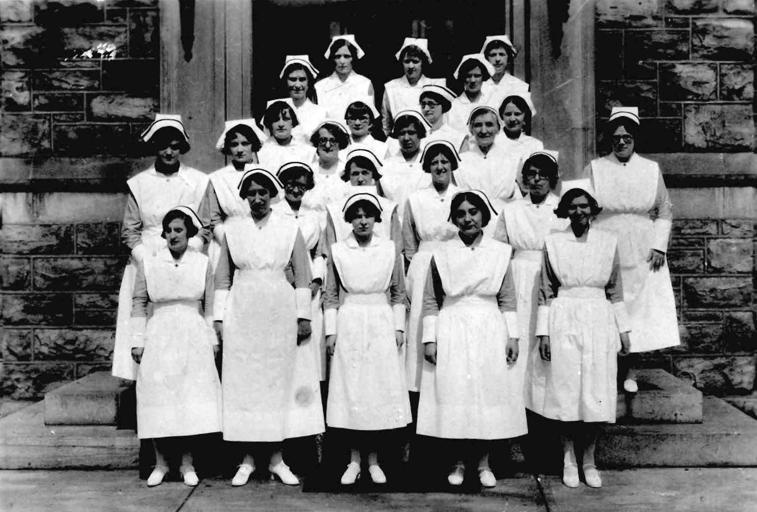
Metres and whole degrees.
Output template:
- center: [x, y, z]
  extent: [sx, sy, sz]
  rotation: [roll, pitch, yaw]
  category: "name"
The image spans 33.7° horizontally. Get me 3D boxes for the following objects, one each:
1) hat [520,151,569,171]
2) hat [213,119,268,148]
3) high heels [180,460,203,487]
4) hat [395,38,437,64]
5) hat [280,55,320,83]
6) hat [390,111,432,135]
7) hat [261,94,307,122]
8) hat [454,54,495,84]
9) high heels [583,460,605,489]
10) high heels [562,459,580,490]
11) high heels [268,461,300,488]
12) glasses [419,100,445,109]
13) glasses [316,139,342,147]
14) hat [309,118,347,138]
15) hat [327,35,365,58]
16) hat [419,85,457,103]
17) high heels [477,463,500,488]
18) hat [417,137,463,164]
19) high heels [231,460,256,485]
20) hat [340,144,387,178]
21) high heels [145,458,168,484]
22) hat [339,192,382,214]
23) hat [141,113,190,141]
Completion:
- center: [1.737, -1.008, 12.780]
  extent: [0.320, 0.098, 0.345]
  rotation: [-3, 0, 32]
  category: "hat"
- center: [-1.422, -1.334, 13.129]
  extent: [0.463, 0.195, 0.416]
  rotation: [-2, -2, -3]
  category: "hat"
- center: [-1.853, 2.168, 12.360]
  extent: [0.148, 0.074, 0.269]
  rotation: [-7, 26, -28]
  category: "high heels"
- center: [0.463, -2.388, 14.342]
  extent: [0.455, 0.310, 0.321]
  rotation: [-1, 1, -35]
  category: "hat"
- center: [-0.887, -2.176, 14.208]
  extent: [0.404, 0.321, 0.668]
  rotation: [-1, 1, -2]
  category: "hat"
- center: [0.370, -1.420, 13.417]
  extent: [0.391, 0.267, 0.551]
  rotation: [-1, 1, 1]
  category: "hat"
- center: [-1.016, -1.637, 13.800]
  extent: [0.546, 0.416, 0.131]
  rotation: [-1, 9, 5]
  category: "hat"
- center: [1.096, -2.154, 14.074]
  extent: [0.424, 0.310, 0.428]
  rotation: [0, 1, 14]
  category: "hat"
- center: [2.137, 2.177, 12.261]
  extent: [0.123, 0.111, 0.305]
  rotation: [-7, 4, 1]
  category: "high heels"
- center: [1.924, 2.163, 12.294]
  extent: [0.159, 0.238, 0.157]
  rotation: [-1, 1, 7]
  category: "high heels"
- center: [-0.917, 2.170, 12.353]
  extent: [0.423, 0.153, 0.148]
  rotation: [11, 16, 36]
  category: "high heels"
- center: [0.613, -1.680, 13.757]
  extent: [0.254, 0.070, 0.098]
  rotation: [-1, 1, -6]
  category: "glasses"
- center: [-0.476, -1.207, 13.314]
  extent: [0.137, 0.089, 0.294]
  rotation: [0, 1, 45]
  category: "glasses"
- center: [-0.441, -1.385, 13.448]
  extent: [0.341, 0.175, 0.550]
  rotation: [0, 1, 39]
  category: "hat"
- center: [-0.378, -2.475, 14.565]
  extent: [0.474, 0.337, 0.549]
  rotation: [-1, 1, -2]
  category: "hat"
- center: [0.684, -1.816, 13.803]
  extent: [0.323, 0.107, 0.232]
  rotation: [18, -5, -2]
  category: "hat"
- center: [1.077, 2.177, 12.275]
  extent: [0.194, 0.213, 0.112]
  rotation: [0, 1, 45]
  category: "high heels"
- center: [0.673, -1.086, 13.052]
  extent: [0.418, 0.257, 0.625]
  rotation: [-1, 1, 3]
  category: "hat"
- center: [-1.330, 2.150, 12.384]
  extent: [0.137, 0.122, 0.311]
  rotation: [7, 23, 16]
  category: "high heels"
- center: [-0.131, -0.987, 13.120]
  extent: [0.358, 0.245, 0.386]
  rotation: [3, 1, 7]
  category: "hat"
- center: [-2.156, 2.158, 12.392]
  extent: [0.168, 0.123, 0.299]
  rotation: [6, 29, 21]
  category: "high heels"
- center: [-0.147, -0.539, 12.419]
  extent: [0.371, 0.205, 0.219]
  rotation: [-1, 1, -1]
  category: "hat"
- center: [-2.206, -1.332, 12.942]
  extent: [0.429, 0.285, 0.360]
  rotation: [-1, 1, 2]
  category: "hat"
